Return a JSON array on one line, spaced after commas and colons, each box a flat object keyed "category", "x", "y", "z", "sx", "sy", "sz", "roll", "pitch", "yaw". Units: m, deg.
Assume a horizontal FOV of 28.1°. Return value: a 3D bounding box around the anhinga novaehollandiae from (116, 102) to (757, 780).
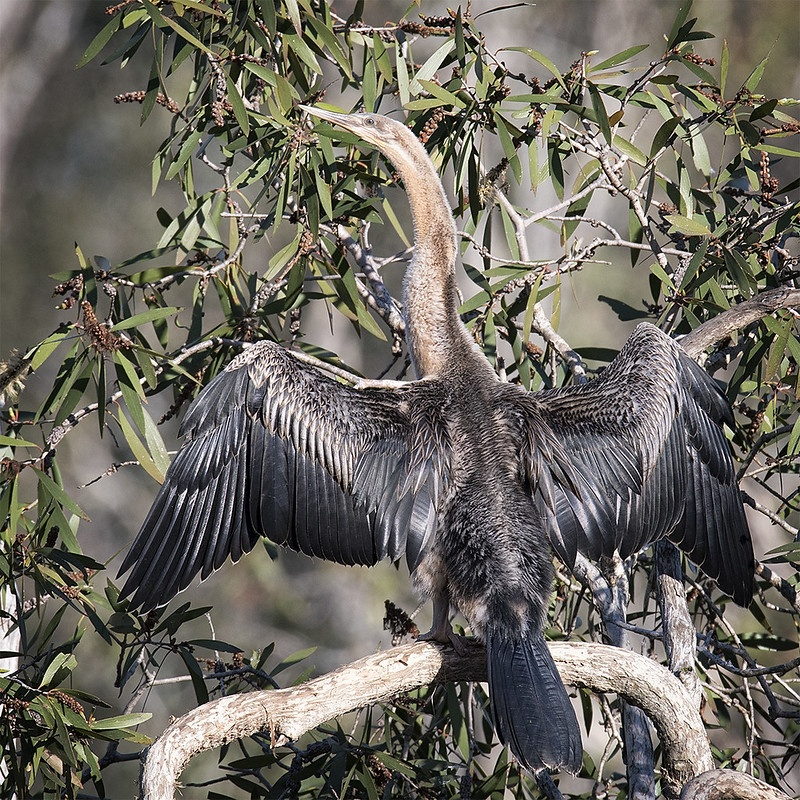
[{"category": "anhinga novaehollandiae", "x": 0.301, "y": 0.156, "z": 5.834, "sx": 2.425, "sy": 2.164, "sz": 2.628, "roll": 1, "pitch": 11, "yaw": 5}]
